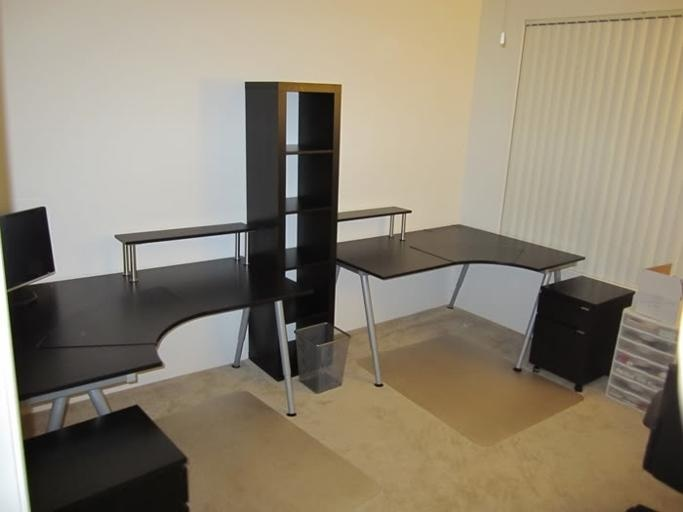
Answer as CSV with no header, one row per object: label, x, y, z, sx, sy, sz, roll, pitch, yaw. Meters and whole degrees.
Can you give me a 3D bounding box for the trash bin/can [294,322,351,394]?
trash bin/can,-0.133,0.643,3.520,0.400,0.538,0.408,-7,16,-32
